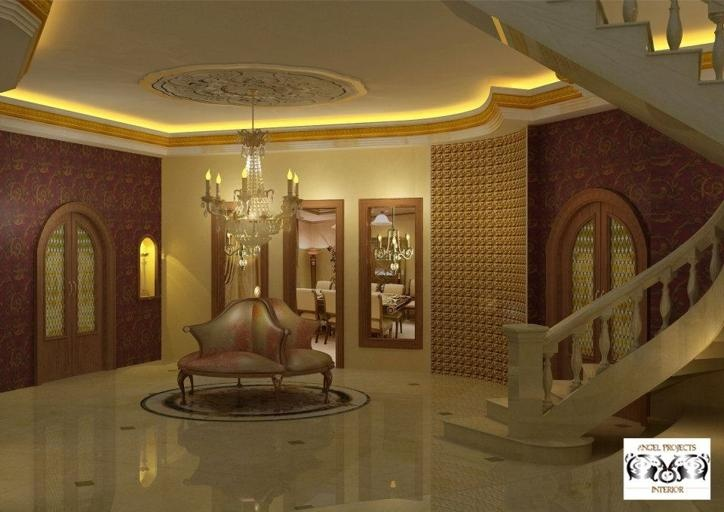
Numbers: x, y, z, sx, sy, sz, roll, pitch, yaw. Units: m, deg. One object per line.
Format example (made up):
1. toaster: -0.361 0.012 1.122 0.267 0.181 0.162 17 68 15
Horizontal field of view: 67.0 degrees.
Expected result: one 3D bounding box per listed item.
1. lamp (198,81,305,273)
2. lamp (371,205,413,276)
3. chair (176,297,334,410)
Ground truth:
1. lamp: -1.454 -1.134 7.379 1.237 2.287 1.330 8 10 42
2. lamp: 0.797 -0.351 15.191 1.261 1.908 0.911 1 2 17
3. chair: -1.521 1.246 7.801 2.316 1.443 1.367 1 -6 -7
